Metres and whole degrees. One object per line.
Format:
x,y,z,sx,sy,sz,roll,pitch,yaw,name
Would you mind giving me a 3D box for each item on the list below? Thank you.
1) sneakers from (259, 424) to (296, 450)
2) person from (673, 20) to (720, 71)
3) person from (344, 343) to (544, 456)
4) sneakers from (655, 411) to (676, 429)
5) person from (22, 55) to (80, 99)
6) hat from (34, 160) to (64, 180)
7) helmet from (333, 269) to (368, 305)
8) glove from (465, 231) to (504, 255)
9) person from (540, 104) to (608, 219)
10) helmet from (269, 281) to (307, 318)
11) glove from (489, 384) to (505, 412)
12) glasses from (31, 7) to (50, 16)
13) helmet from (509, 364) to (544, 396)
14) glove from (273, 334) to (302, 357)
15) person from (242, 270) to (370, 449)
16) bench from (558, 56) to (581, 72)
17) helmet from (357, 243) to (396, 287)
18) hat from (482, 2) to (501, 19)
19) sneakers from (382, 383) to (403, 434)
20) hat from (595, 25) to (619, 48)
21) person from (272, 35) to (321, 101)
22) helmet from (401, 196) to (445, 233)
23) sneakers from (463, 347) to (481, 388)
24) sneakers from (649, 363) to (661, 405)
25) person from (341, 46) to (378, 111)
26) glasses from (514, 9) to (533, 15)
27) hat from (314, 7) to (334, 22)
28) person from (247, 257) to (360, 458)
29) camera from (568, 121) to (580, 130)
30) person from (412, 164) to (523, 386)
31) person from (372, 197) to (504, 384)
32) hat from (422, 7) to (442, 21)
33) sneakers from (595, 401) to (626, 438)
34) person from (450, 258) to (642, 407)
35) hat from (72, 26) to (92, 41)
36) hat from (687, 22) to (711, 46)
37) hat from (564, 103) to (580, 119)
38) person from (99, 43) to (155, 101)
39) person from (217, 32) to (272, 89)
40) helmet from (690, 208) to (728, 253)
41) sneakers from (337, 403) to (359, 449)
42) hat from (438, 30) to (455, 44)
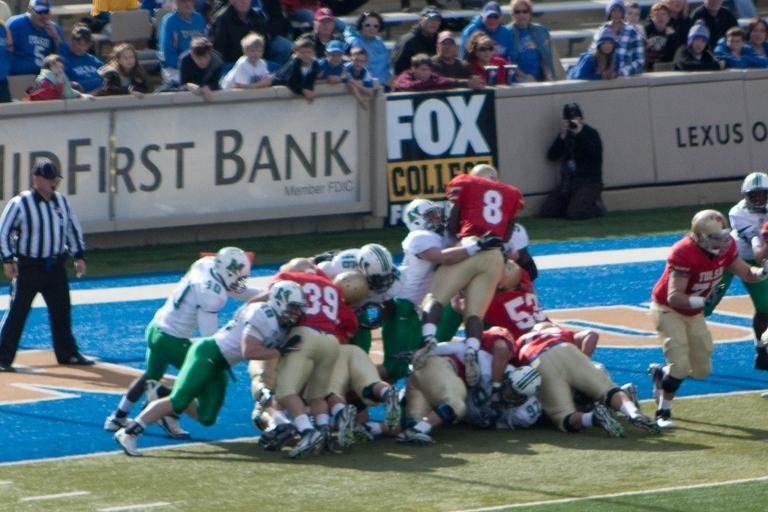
-1.172,1.973,17.477,0.475,0.185,0.210,-24,21,18,sneakers
5.141,-3.501,26.004,0.682,0.784,0.855,-4,36,3,person
0.724,1.569,17.843,1.713,0.712,1.147,-3,2,-29,person
3.188,1.851,18.105,0.118,0.145,0.373,-4,-15,4,sneakers
-4.700,-2.487,22.523,0.715,0.916,0.575,-2,29,-19,person
-4.090,-1.031,19.250,0.300,0.215,0.262,-3,5,-11,hat
-0.380,0.367,18.217,0.400,0.299,0.352,33,-8,-2,helmet
1.169,-0.149,18.564,0.423,0.226,0.227,-2,5,2,glove
2.954,-1.466,24.892,0.893,1.797,0.494,-2,5,6,person
-1.083,0.465,17.441,0.429,0.348,0.305,8,9,-2,helmet
1.283,1.569,17.870,0.192,0.302,0.071,0,5,28,glove
-4.948,-3.530,22.905,0.247,0.127,0.155,-3,5,-18,glasses
1.580,1.363,17.755,0.329,0.269,0.364,-14,-4,17,helmet
-1.045,0.963,17.435,0.285,0.225,0.153,-2,5,-5,glove
-0.846,1.073,17.802,1.286,2.325,0.834,6,-34,-17,person
3.195,-3.300,27.436,0.598,0.131,0.537,-2,26,0,bench
-0.070,0.125,18.204,0.448,0.518,0.282,-2,5,-2,helmet
1.697,-3.883,25.154,0.239,0.178,0.361,2,10,-2,hat
0.091,1.670,17.451,0.195,0.499,0.226,-1,12,0,sneakers
3.515,-3.480,25.281,0.271,0.255,0.340,-1,-8,5,hat
-1.214,-2.756,23.663,0.565,1.205,0.853,-7,37,-20,person
0.471,-0.524,18.973,0.460,0.386,0.349,-10,19,-2,helmet
0.987,1.244,17.827,0.184,0.397,0.187,-3,1,11,sneakers
3.160,1.482,18.450,0.162,0.451,0.301,1,-1,14,sneakers
-0.356,-2.697,24.061,0.478,0.905,0.495,-2,5,6,person
2.210,-3.887,25.353,0.264,0.087,0.111,-3,5,-8,glasses
-0.923,-3.690,24.182,0.257,0.179,0.353,0,1,-13,hat
-0.815,1.200,17.623,1.336,1.901,0.758,14,-33,-31,person
2.937,-2.021,24.621,0.163,0.109,0.151,2,-1,5,camera
1.012,0.093,18.888,0.977,2.580,0.887,13,-16,2,person
0.561,0.422,18.500,1.506,2.100,0.909,24,-39,-20,person
0.716,-3.743,24.687,0.210,0.155,0.303,1,5,-16,hat
2.472,1.813,17.731,0.186,0.492,0.224,-39,2,-23,sneakers
1.857,0.929,18.376,1.204,2.413,0.689,-40,-23,-4,person
-4.308,-3.173,22.749,0.213,0.176,0.249,-1,2,25,hat
5.112,-3.599,25.833,0.290,0.344,0.391,10,-19,8,hat
2.929,-2.238,24.762,0.283,0.267,0.365,-2,5,5,hat
-3.870,-2.516,23.329,0.759,1.024,0.593,-1,-3,-2,person
-2.031,-2.799,23.638,0.584,0.811,0.646,0,3,-43,person
3.711,-0.269,18.107,0.439,0.497,0.277,-1,5,10,helmet
-0.439,1.843,17.320,0.184,0.473,0.223,12,-12,-22,sneakers
0.948,-3.375,24.411,0.188,0.192,0.253,-4,-9,-4,hat
